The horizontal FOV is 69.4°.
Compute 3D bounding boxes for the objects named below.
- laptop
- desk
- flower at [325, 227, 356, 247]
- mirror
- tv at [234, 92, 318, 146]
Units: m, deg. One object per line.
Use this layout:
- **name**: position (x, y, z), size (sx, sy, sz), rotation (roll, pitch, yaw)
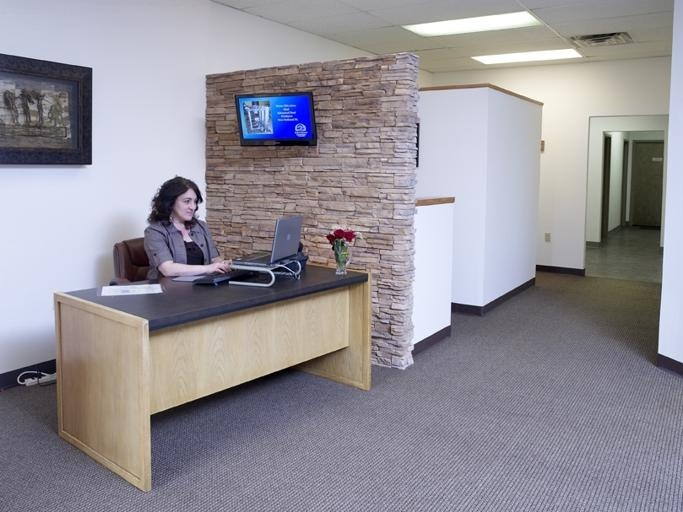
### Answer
- **laptop**: position (-0.518, -0.099, 3.458), size (0.374, 0.331, 0.473), rotation (5, 6, 20)
- **desk**: position (-0.773, 0.684, 3.625), size (1.030, 0.954, 2.048), rotation (8, 9, 35)
- **flower**: position (0.015, -0.147, 3.848), size (0.192, 0.136, 0.199), rotation (-1, 3, -42)
- **mirror**: position (5.837, -1.245, 10.196), size (1.176, 3.239, 3.608), rotation (2, 3, 43)
- **tv**: position (-0.634, -1.283, 4.674), size (0.867, 0.479, 0.088), rotation (6, 16, 30)
